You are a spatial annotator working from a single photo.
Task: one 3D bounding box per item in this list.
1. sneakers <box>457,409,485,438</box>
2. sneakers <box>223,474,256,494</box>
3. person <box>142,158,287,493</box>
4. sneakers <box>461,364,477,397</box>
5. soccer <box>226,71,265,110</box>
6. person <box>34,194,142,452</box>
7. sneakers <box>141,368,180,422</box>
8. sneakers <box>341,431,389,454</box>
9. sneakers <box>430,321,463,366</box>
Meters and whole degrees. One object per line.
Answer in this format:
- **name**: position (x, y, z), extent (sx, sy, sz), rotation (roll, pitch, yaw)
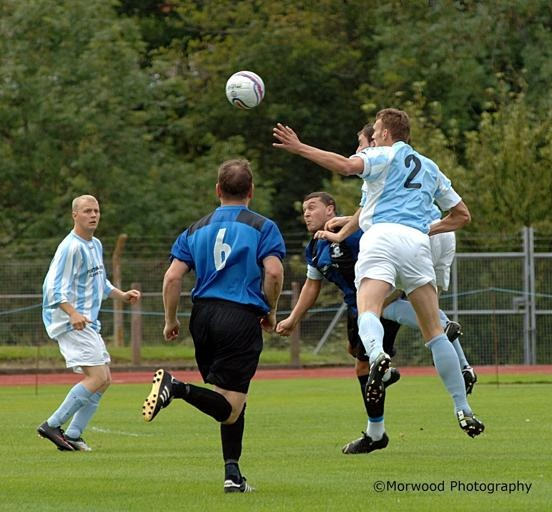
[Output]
- **sneakers**: position (1.986, 1.711, 12.969), extent (0.176, 0.337, 0.173), rotation (-42, 24, 12)
- **sneakers**: position (-0.317, 2.272, 12.552), extent (0.357, 0.162, 0.120), rotation (4, -2, -44)
- **person**: position (-0.511, 0.673, 12.681), extent (1.299, 3.182, 0.830), rotation (-3, 1, 0)
- **sneakers**: position (2.274, 1.417, 14.500), extent (0.127, 0.343, 0.248), rotation (3, -7, 0)
- **soccer**: position (-0.342, -2.017, 15.175), extent (0.456, 0.435, 0.341), rotation (-3, 1, -17)
- **person**: position (-2.259, 0.726, 14.649), extent (0.968, 2.907, 0.882), rotation (-3, 1, -8)
- **sneakers**: position (-1.117, 1.355, 12.377), extent (0.184, 0.280, 0.524), rotation (-8, 3, 32)
- **sneakers**: position (1.002, 2.056, 13.950), extent (0.540, 0.254, 0.202), rotation (-5, -7, -6)
- **sneakers**: position (1.854, 0.934, 13.673), extent (0.232, 0.296, 0.663), rotation (-18, -36, -4)
